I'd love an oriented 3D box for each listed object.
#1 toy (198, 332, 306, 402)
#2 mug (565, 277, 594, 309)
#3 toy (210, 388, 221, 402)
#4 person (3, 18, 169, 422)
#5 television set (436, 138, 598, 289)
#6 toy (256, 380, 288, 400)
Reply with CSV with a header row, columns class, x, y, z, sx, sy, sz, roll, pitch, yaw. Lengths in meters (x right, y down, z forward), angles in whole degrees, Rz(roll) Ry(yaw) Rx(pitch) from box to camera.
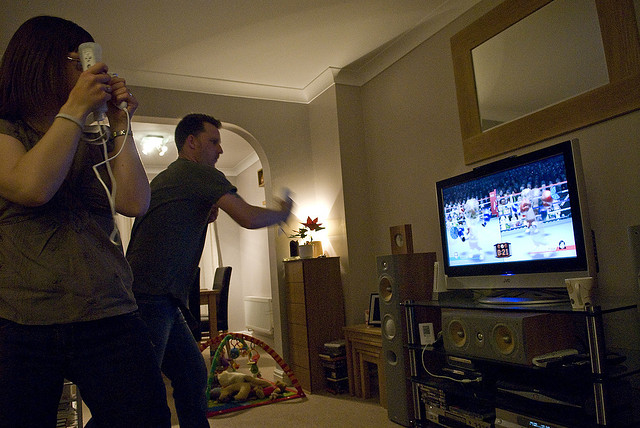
class,x,y,z,sx,sy,sz,roll,pitch,yaw
toy,-0.693,1.264,4.207,0.957,0.489,0.940,-10,-16,-13
mug,1.290,0.393,2.261,0.160,0.154,0.133,12,-15,-42
toy,-0.845,1.463,3.702,0.056,0.095,0.104,0,-2,19
person,-0.689,0.017,1.365,0.451,1.196,0.228,7,-11,-44
television set,1.140,0.052,2.809,0.117,0.797,1.058,2,-10,-28
toy,-0.400,1.450,3.782,0.197,0.091,0.221,-2,-7,12
